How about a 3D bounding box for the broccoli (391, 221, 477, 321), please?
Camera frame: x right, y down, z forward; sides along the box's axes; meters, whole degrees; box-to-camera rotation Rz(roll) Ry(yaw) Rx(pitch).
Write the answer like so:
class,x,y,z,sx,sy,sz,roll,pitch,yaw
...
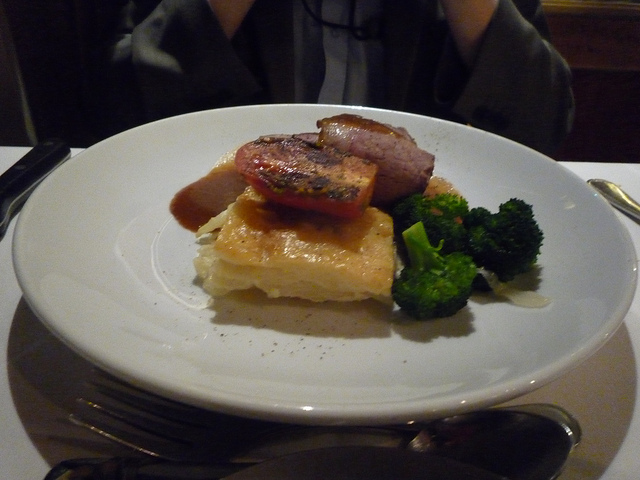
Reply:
class,x,y,z,sx,sy,sz,roll,pitch,yaw
broccoli,0.398,0.092,1.972,0.279,0.160,0.341,-13,72,-5
